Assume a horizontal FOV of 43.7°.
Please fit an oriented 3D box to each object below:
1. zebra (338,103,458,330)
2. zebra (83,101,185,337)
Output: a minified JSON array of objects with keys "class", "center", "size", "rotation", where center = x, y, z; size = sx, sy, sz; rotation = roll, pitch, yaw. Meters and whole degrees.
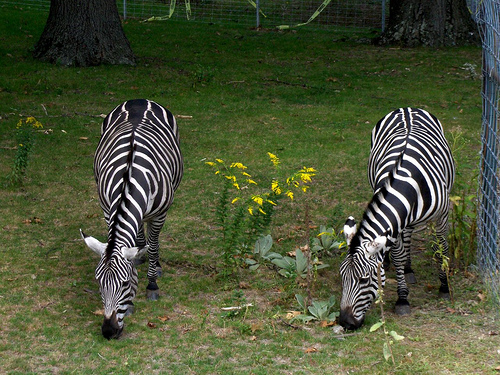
[{"class":"zebra","center":[2.184,0.543,9.161],"size":[1.056,2.069,3.563],"rotation":[6,48,32]},{"class":"zebra","center":[-1.606,0.336,8.931],"size":[1.255,2.470,2.821],"rotation":[1,19,-7]}]
